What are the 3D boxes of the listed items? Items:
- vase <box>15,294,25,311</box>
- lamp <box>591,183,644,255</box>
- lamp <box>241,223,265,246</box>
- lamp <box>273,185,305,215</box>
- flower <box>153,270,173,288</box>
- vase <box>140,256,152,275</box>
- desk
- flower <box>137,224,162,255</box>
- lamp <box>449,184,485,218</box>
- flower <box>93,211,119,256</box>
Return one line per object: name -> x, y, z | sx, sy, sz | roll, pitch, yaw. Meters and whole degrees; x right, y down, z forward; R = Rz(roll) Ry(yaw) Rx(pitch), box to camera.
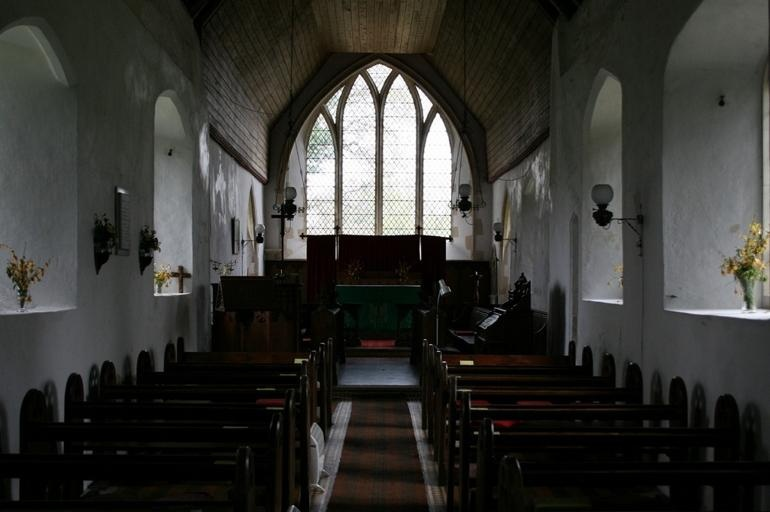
vase -> -3.415, 0.451, 6.575 | 0.120, 0.153, 0.124 | 2, -9, -28
lamp -> 2.590, -0.347, 7.768 | 0.529, 0.846, 0.240 | -2, -5, 25
lamp -> -2.751, -0.433, 14.773 | 0.596, 0.530, 0.298 | -1, 0, 8
lamp -> -1.687, -0.939, 12.284 | 0.336, 0.502, 1.307 | -8, 3, -3
flower -> -3.093, 0.328, 9.685 | 0.161, 0.224, 0.233 | 2, -4, -7
vase -> -2.937, 0.129, 8.528 | 0.141, 0.199, 0.192 | -4, -4, 0
desk -> -0.168, 1.246, 14.766 | 1.759, 1.293, 1.044 | 1, -2, -7
flower -> -2.891, -0.172, 8.630 | 0.265, 0.433, 0.307 | 2, -10, -3
lamp -> 1.688, -1.064, 13.234 | 0.814, 0.683, 0.882 | 0, -3, -3
flower -> -2.969, -0.234, 7.387 | 0.105, 0.395, 0.267 | -2, 0, 7
